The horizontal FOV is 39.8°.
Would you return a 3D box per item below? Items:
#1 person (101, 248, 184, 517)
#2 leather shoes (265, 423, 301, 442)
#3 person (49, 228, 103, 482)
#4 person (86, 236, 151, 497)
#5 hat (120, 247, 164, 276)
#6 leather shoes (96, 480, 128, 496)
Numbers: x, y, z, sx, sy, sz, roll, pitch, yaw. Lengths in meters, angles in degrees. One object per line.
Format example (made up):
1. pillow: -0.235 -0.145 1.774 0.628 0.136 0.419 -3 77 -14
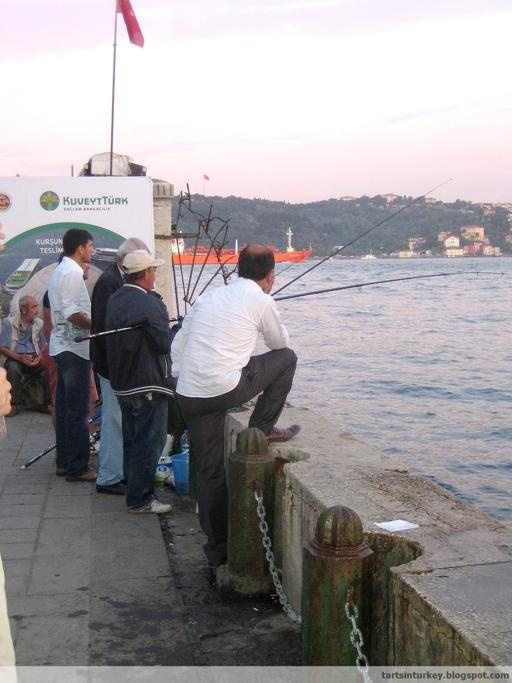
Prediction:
1. person: -0.629 0.232 4.336 0.530 1.551 0.416 1 5 8
2. leather shoes: 0.145 0.469 3.640 0.067 0.075 0.195 7 19 41
3. person: -1.188 0.086 4.967 0.589 1.712 0.709 0 4 -16
4. person: -0.761 0.283 4.745 0.604 1.681 0.525 -4 18 -17
5. hat: -0.677 -0.473 4.195 0.223 0.168 0.263 4 3 -12
6. leather shoes: -0.949 0.988 4.752 0.249 0.088 0.077 0 -1 -5
